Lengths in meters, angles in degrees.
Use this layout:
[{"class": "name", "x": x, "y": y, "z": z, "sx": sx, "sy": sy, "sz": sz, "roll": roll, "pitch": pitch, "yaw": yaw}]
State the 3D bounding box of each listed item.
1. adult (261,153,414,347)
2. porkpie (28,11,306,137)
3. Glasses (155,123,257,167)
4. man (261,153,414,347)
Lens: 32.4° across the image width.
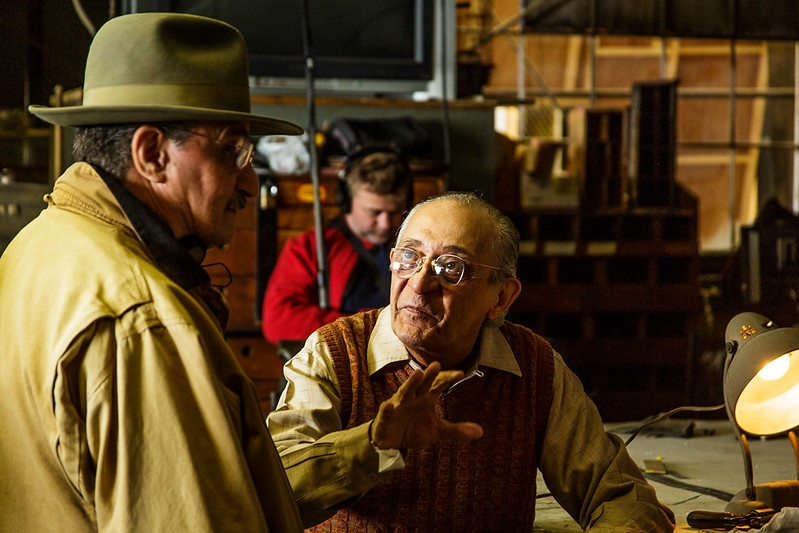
[{"class": "adult", "x": -0.362, "y": -0.067, "z": 8.155, "sx": 0.952, "sy": 1.210, "sz": 0.669, "roll": 4, "pitch": 11, "yaw": -17}, {"class": "porkpie", "x": -1.069, "y": -0.785, "z": 6.276, "sx": 0.684, "sy": 0.294, "sz": 0.651, "roll": -1, "pitch": -1, "yaw": 24}, {"class": "Glasses", "x": -0.826, "y": -0.556, "z": 6.292, "sx": 0.286, "sy": 0.084, "sz": 0.216, "roll": 26, "pitch": -2, "yaw": -8}, {"class": "man", "x": -0.362, "y": -0.067, "z": 8.155, "sx": 0.952, "sy": 1.210, "sz": 0.669, "roll": 4, "pitch": 11, "yaw": -17}]
